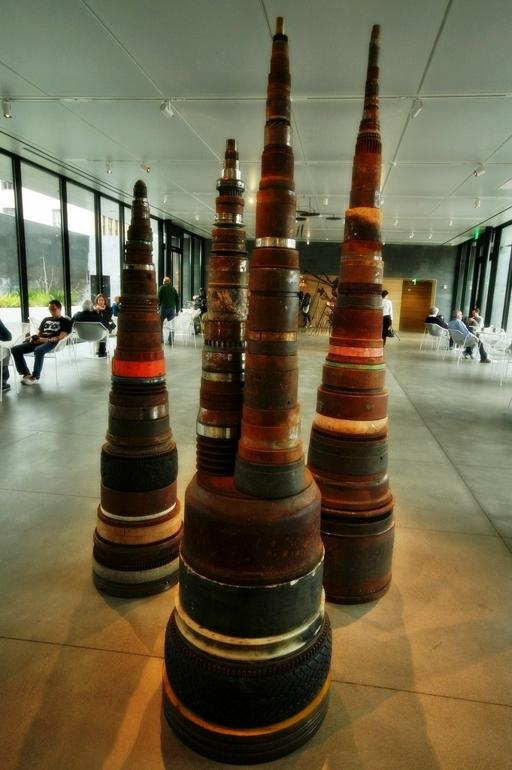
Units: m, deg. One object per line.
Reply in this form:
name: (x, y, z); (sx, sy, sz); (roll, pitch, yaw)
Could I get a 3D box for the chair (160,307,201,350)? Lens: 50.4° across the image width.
chair: (-1.891, -1.300, 13.108); (1.061, 1.374, 1.229); (3, 11, -6)

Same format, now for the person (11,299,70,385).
person: (-2.680, -0.557, 6.856); (0.569, 1.019, 0.803); (3, 11, 7)

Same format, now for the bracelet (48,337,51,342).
bracelet: (-2.567, -0.578, 6.791); (0.035, 0.033, 0.034); (5, 11, -1)

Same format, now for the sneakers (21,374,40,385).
sneakers: (-2.745, -0.075, 6.635); (0.087, 0.098, 0.200); (-7, 16, -39)

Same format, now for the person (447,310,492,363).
person: (4.179, -0.998, 10.730); (0.766, 0.959, 1.863); (6, 11, 22)

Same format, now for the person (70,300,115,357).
person: (-2.412, -0.838, 7.973); (0.539, 0.922, 0.601); (6, 16, 15)
